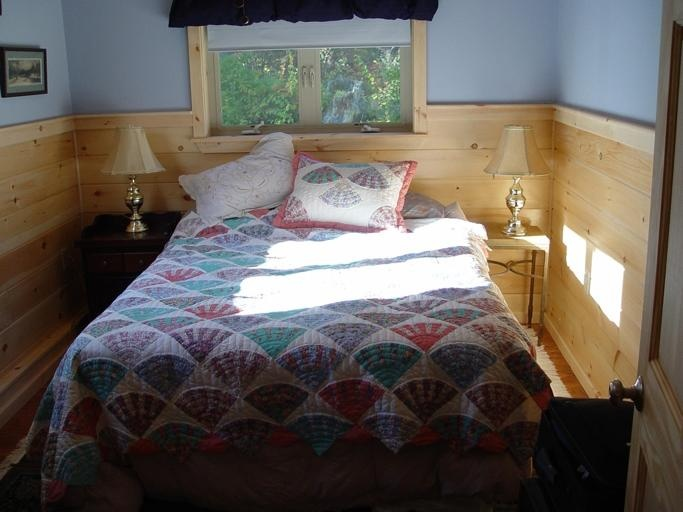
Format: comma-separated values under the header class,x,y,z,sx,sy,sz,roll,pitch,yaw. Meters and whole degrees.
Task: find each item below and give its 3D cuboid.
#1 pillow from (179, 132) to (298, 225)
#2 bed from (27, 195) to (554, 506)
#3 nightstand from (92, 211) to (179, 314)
class,x,y,z,sx,sy,sz,roll,pitch,yaw
pillow,-0.718,-0.479,3.388,0.706,0.188,0.784,24,51,22
bed,-0.211,0.387,2.350,1.911,0.604,1.187,0,19,-4
nightstand,-1.422,0.094,3.593,0.627,0.658,0.554,-3,19,-14
